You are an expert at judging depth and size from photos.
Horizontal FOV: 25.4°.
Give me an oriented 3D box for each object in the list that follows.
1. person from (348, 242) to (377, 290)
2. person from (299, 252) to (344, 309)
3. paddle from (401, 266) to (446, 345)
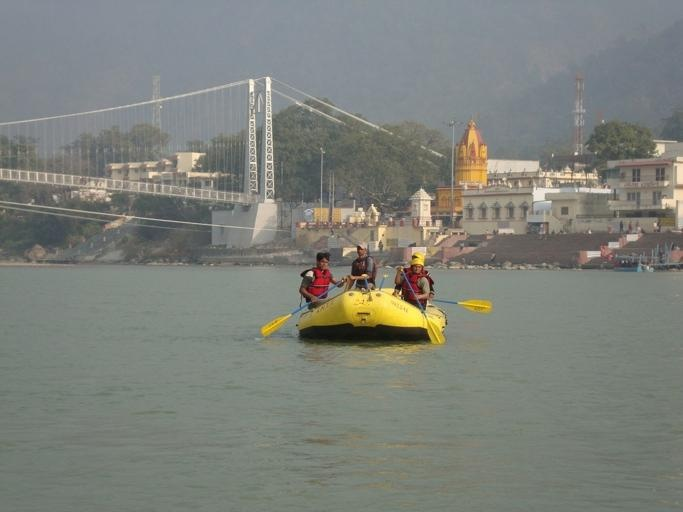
[{"bbox_3d":[0.681,0.404,49.855,0.895,1.405,1.948,1,0,0],"label":"person"},{"bbox_3d":[-0.587,0.902,50.064,1.117,2.089,1.218,-4,5,-29],"label":"person"},{"bbox_3d":[2.721,1.634,49.843,1.063,2.508,1.125,-5,7,-43],"label":"paddle"}]
